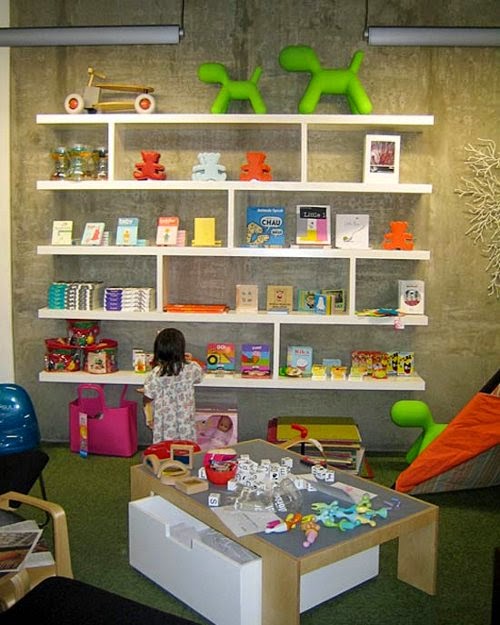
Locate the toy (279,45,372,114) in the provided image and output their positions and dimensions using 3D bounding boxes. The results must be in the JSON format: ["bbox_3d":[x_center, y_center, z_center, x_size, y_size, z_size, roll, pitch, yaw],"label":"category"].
[{"bbox_3d":[0.444,-1.671,4.621,0.798,0.500,0.381,4,7,3],"label":"toy"}]

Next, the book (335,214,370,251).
[{"bbox_3d":[0.730,-0.571,4.534,0.320,0.274,0.029,1,-8,0],"label":"book"}]

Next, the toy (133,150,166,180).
[{"bbox_3d":[-0.726,-1.068,4.587,0.291,0.233,0.131,1,14,-1],"label":"toy"}]

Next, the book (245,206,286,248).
[{"bbox_3d":[0.109,-0.617,4.600,0.365,0.327,0.035,1,-14,-1],"label":"book"}]

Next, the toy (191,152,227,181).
[{"bbox_3d":[-0.289,-1.044,4.523,0.310,0.240,0.096,0,5,-5],"label":"toy"}]

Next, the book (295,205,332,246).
[{"bbox_3d":[0.454,-0.625,4.577,0.349,0.334,0.048,1,-7,2],"label":"book"}]

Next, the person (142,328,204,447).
[{"bbox_3d":[-0.479,0.454,3.851,0.264,0.733,0.267,4,7,22],"label":"person"}]

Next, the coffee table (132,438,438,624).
[{"bbox_3d":[0.299,1.010,2.995,1.262,0.497,1.183,-3,8,-34],"label":"coffee table"}]

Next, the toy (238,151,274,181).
[{"bbox_3d":[0.043,-1.052,4.536,0.323,0.246,0.107,0,2,-1],"label":"toy"}]

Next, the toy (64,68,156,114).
[{"bbox_3d":[-1.030,-1.556,4.606,0.727,0.381,0.350,1,10,-2],"label":"toy"}]
